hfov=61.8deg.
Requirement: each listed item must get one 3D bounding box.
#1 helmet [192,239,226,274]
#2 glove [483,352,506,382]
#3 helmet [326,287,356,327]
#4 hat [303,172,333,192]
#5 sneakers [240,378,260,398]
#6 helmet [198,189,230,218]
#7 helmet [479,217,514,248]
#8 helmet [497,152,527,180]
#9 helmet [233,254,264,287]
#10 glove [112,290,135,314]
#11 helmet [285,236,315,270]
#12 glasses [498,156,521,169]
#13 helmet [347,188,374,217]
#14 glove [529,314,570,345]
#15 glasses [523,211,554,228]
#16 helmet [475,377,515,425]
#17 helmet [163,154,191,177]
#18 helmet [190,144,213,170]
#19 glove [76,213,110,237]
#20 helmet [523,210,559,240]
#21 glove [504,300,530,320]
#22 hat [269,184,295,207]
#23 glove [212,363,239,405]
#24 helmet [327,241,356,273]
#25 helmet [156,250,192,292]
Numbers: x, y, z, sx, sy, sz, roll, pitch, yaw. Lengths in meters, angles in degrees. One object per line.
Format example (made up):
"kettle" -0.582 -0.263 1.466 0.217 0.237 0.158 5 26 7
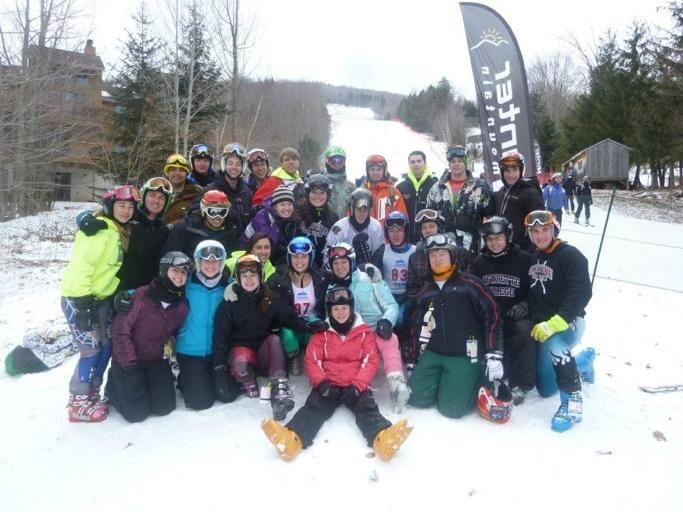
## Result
"helmet" -1.947 -0.001 8.451 0.364 0.439 0.443 2 -3 -22
"glove" 2.157 1.585 8.125 0.315 0.366 0.143 0 -7 22
"helmet" -0.030 0.702 8.493 0.427 0.677 0.505 -9 13 -24
"hat" -0.413 -1.238 9.815 0.296 0.302 0.365 1 -7 -3
"sneakers" -1.371 2.001 8.566 0.208 0.306 0.301 -30 -7 1
"helmet" -1.965 -0.828 8.834 0.331 0.381 0.442 -3 27 -28
"helmet" 2.382 -0.353 8.840 0.346 0.385 0.438 -7 -34 39
"helmet" 2.892 -1.608 9.724 0.373 0.431 0.456 2 -18 30
"helmet" -1.384 0.201 8.430 0.313 0.472 0.406 1 6 -5
"glove" -3.150 0.676 8.286 0.289 0.338 0.406 -3 10 -26
"helmet" -0.639 -0.049 8.781 0.315 0.459 0.419 1 11 0
"glasses" 2.859 -1.527 9.584 0.193 0.215 0.256 0 -6 26
"helmet" 0.311 -0.936 9.836 0.309 0.438 0.440 2 -4 -2
"glove" 2.979 1.052 8.244 0.308 0.504 0.197 50 2 30
"glasses" 2.990 -0.557 8.569 0.223 0.205 0.322 -3 -7 38
"helmet" 2.141 2.043 8.071 0.434 0.531 0.537 13 1 -43
"helmet" -2.865 -1.595 9.939 0.303 0.257 0.445 1 -6 -19
"helmet" -2.531 -1.744 10.248 0.336 0.490 0.471 0 7 -15
"glove" -3.572 -0.442 8.086 0.250 0.177 0.402 -30 44 -24
"helmet" 3.023 -0.526 8.637 0.349 0.380 0.456 -4 -41 49
"glove" 2.692 0.856 8.729 0.269 0.228 0.138 -30 -24 -17
"hat" -1.001 -0.997 9.456 0.272 0.298 0.372 3 -5 -38
"glove" -1.713 1.901 8.410 0.138 0.564 0.305 -5 27 44
"helmet" -0.023 0.013 8.974 0.346 0.461 0.440 1 -28 13
"helmet" -2.456 0.208 8.380 0.437 0.627 0.417 6 -5 31
